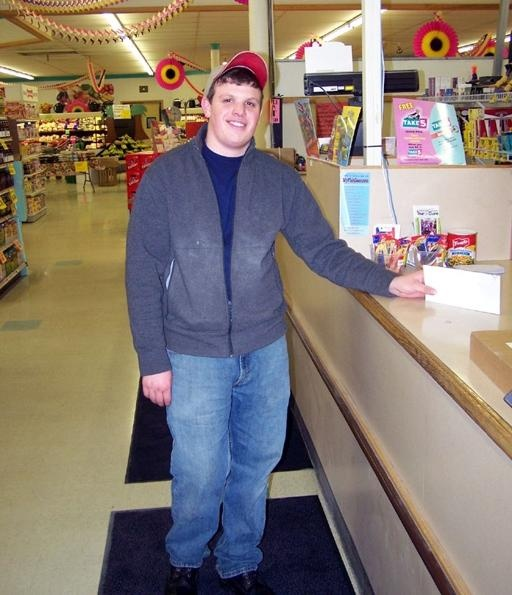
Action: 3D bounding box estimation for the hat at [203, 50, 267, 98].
[{"bbox_3d":[-0.040,-0.632,1.254,0.201,0.133,0.138,-7,14,-19],"label":"hat"}]
